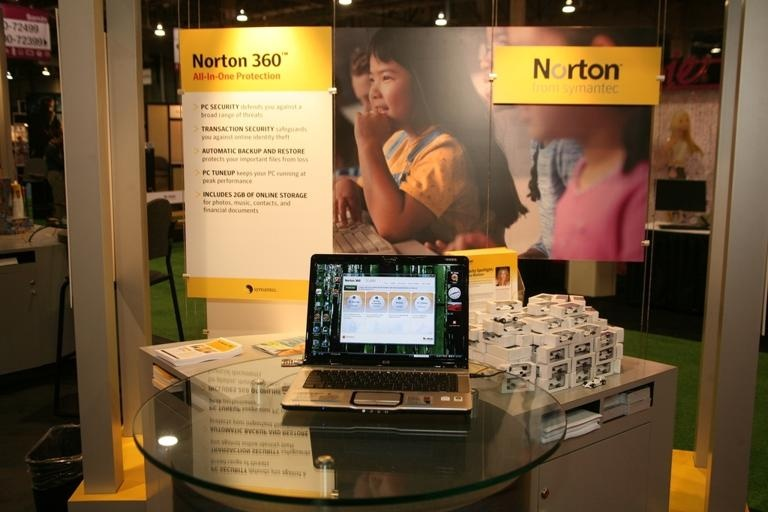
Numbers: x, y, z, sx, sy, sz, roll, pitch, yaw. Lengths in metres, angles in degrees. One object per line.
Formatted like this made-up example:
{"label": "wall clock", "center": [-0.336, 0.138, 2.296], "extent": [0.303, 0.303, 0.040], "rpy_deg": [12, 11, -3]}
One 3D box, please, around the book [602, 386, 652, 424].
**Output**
{"label": "book", "center": [1.120, 0.690, 2.840], "extent": [0.176, 0.043, 0.157], "rpy_deg": [-15, 10, -18]}

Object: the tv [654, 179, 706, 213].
{"label": "tv", "center": [1.619, -0.333, 3.410], "extent": [0.251, 0.176, 0.148], "rpy_deg": [4, 9, 26]}

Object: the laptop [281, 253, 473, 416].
{"label": "laptop", "center": [0.019, 0.305, 2.566], "extent": [0.678, 0.507, 0.586], "rpy_deg": [1, 10, 5]}

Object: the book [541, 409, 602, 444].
{"label": "book", "center": [0.761, 0.704, 2.554], "extent": [0.246, 0.061, 0.245], "rpy_deg": [-8, 2, -22]}
